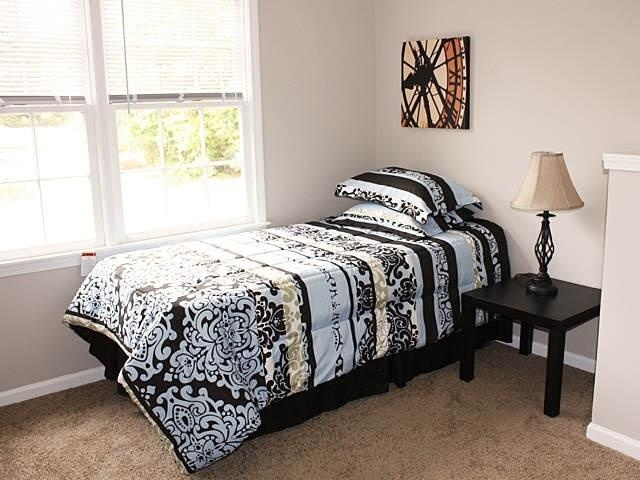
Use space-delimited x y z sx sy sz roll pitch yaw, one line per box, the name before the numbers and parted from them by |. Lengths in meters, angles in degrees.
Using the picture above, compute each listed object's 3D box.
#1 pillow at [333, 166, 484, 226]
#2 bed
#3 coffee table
pillow | 0.544 -0.366 3.441 0.514 0.214 0.683 -20 31 -37
bed | -0.095 0.378 2.803 2.026 0.629 1.264 -12 19 -34
coffee table | 1.355 0.494 3.016 0.779 0.646 0.722 -12 18 -42
